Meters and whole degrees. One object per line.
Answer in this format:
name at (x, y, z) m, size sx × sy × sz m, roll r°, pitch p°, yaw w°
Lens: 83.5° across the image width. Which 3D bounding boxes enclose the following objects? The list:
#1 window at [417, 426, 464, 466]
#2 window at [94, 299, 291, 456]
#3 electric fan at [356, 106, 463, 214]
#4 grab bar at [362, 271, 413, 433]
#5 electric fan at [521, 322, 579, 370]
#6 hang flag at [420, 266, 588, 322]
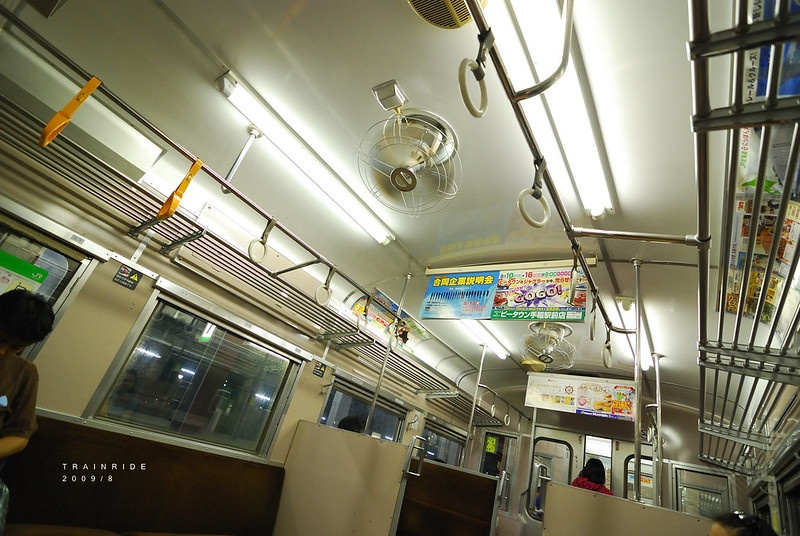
window at (1.037, 4.305, 10.518) m, size 0.961 × 0.562 × 0.031 m, roll 20°, pitch -17°, yaw 13°
window at (-2.694, 1.404, 5.689) m, size 1.928 × 1.372 × 0.153 m, roll 38°, pitch -33°, yaw -30°
electric fan at (0.091, -1.152, 5.010) m, size 1.133 × 0.414 × 1.121 m, roll 39°, pitch -58°, yaw -20°
grab bar at (-0.229, 1.468, 6.598) m, size 0.249 × 1.433 × 0.243 m, roll 13°, pitch -10°, yaw 23°
electric fan at (2.763, 1.412, 8.253) m, size 0.971 × 0.765 × 0.981 m, roll 11°, pitch -44°, yaw 21°
hang flag at (1.423, 0.338, 6.103) m, size 2.143 × 0.856 × 0.122 m, roll -3°, pitch -36°, yaw 26°
